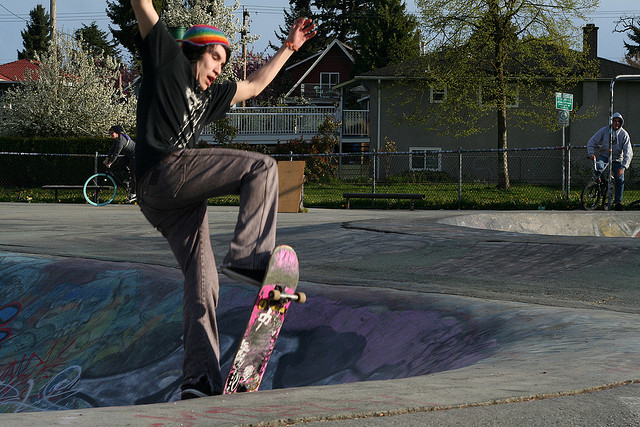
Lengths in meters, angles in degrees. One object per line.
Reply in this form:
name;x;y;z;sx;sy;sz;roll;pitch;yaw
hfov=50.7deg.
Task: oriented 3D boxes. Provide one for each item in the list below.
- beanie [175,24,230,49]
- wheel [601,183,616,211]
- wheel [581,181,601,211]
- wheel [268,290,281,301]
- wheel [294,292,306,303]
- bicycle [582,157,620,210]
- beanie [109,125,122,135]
beanie;-0.949;-1.434;5.531;0.273;0.114;0.253;-2;6;-23
wheel;6.279;-0.356;14.746;0.114;0.602;0.578;9;49;13
wheel;6.056;-0.396;15.122;0.703;0.621;0.290;-10;12;-37
wheel;-0.353;0.629;5.237;0.073;0.083;0.073;7;0;0
wheel;-0.150;0.671;5.423;0.082;0.087;0.098;-5;-1;28
bicycle;6.141;-0.522;14.827;0.587;0.833;1.242;11;1;35
beanie;-4.953;-2.014;16.355;0.212;0.132;0.175;14;-1;43
